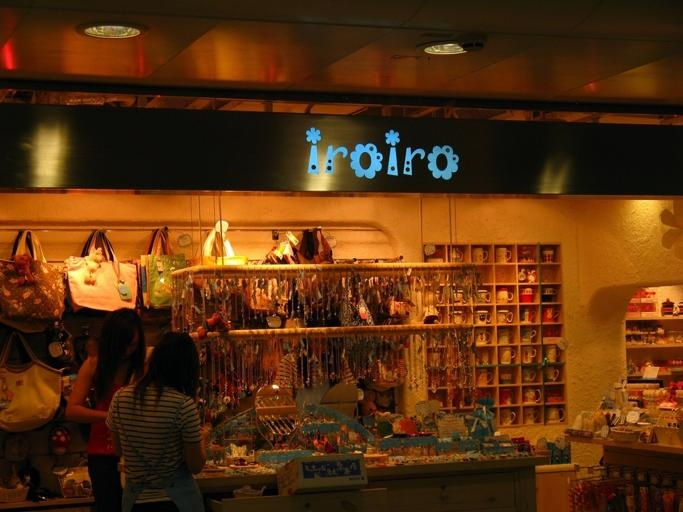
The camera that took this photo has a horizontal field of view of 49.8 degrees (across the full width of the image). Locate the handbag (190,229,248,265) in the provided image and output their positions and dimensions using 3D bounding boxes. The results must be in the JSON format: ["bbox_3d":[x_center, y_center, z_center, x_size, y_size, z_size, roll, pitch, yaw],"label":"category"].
[{"bbox_3d":[-1.113,-0.024,6.661,0.408,0.288,0.429,2,-12,-10],"label":"handbag"}]
